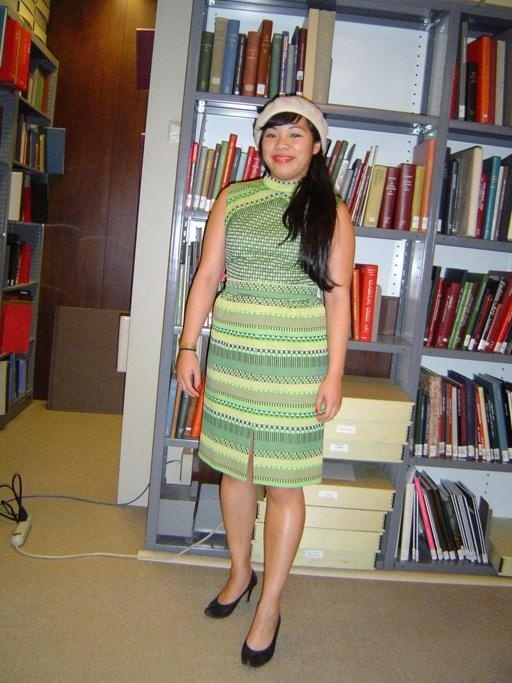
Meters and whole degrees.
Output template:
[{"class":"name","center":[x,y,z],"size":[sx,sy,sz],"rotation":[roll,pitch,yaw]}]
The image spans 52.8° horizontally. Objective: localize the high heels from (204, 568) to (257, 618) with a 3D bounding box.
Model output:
[{"class":"high heels","center":[-0.072,0.760,1.593],"size":[0.066,0.099,0.198],"rotation":[4,2,42]}]

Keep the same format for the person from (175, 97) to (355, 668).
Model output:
[{"class":"person","center":[0.019,0.103,1.381],"size":[0.417,1.460,0.312],"rotation":[7,8,26]}]
